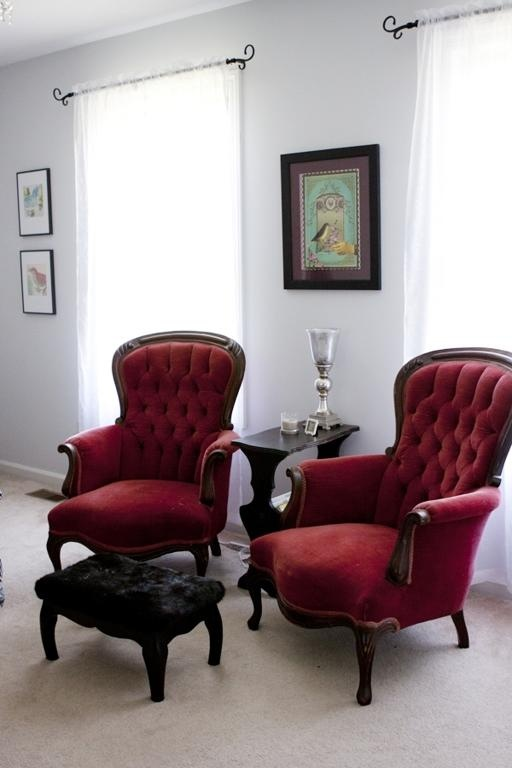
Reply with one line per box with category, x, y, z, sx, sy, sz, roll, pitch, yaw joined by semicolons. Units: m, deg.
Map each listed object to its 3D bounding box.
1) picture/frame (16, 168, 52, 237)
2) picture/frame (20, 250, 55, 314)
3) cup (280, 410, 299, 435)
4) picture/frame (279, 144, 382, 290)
picture/frame;-1.476;-1.229;4.161;0.434;0.594;0.058;6;7;37
picture/frame;-1.469;-0.706;4.219;0.419;0.588;0.061;3;7;37
cup;0.155;0.185;2.839;0.085;0.097;0.085;2;-2;0
picture/frame;0.365;-0.796;2.898;0.704;0.876;0.037;2;6;38
